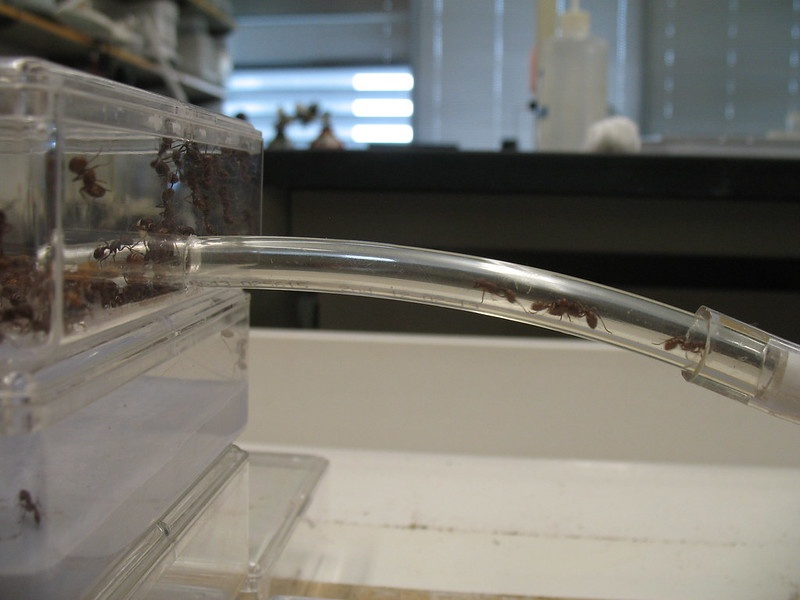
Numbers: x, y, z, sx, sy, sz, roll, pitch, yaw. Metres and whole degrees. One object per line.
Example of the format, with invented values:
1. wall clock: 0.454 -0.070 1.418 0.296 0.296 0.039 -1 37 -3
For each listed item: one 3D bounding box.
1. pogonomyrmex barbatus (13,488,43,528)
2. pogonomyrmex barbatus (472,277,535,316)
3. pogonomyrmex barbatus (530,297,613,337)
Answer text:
1. pogonomyrmex barbatus: -0.366 0.204 0.752 0.020 0.044 0.015 -4 38 21
2. pogonomyrmex barbatus: 0.122 -0.009 0.901 0.056 0.039 0.019 14 61 6
3. pogonomyrmex barbatus: 0.209 0.024 0.898 0.071 0.025 0.038 14 43 -2
